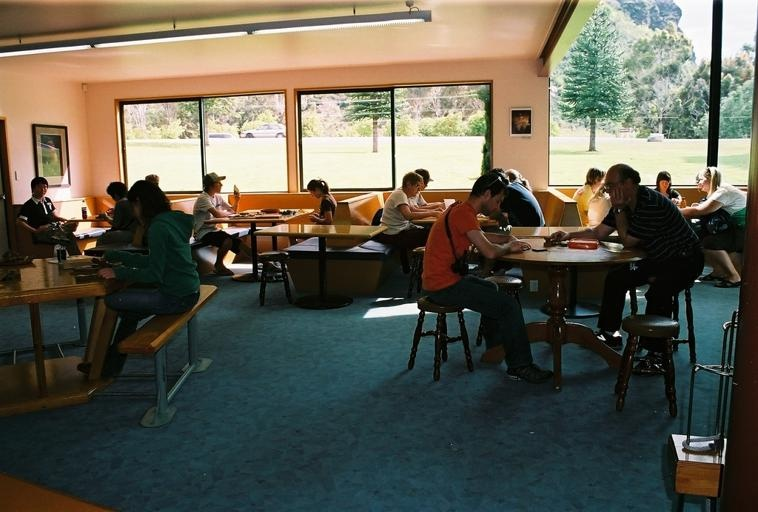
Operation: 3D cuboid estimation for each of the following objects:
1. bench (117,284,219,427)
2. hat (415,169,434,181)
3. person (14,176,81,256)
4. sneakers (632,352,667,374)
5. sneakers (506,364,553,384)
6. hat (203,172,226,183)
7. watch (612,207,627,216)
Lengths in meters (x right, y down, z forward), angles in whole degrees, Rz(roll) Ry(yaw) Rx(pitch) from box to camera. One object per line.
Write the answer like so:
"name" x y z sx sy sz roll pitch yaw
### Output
"bench" -1.660 0.792 4.097 0.255 0.487 1.026 5 13 7
"hat" 0.688 -1.246 8.013 0.335 0.156 0.209 9 19 -2
"person" -5.238 -0.695 8.272 0.726 1.040 2.525 -12 17 -33
"sneakers" 2.214 0.861 4.300 0.218 0.086 0.357 7 10 41
"sneakers" 1.211 0.933 4.251 0.390 0.130 0.140 -1 4 23
"hat" -2.421 -1.229 8.164 0.488 0.158 0.292 -7 12 -33
"watch" 2.015 -0.382 4.445 0.074 0.081 0.101 2 7 2
